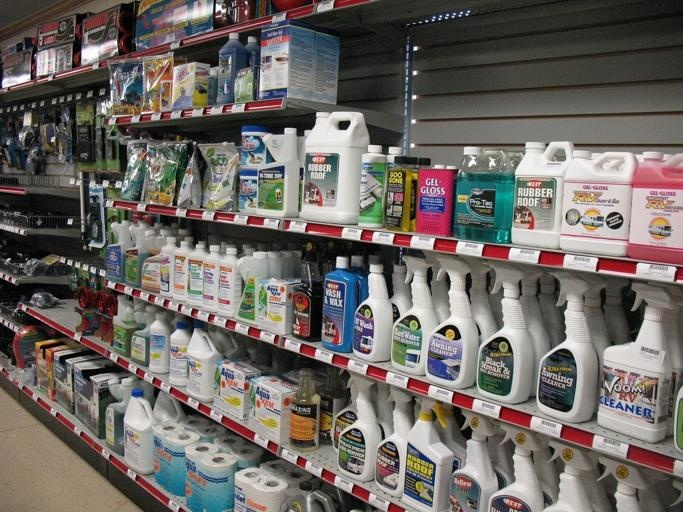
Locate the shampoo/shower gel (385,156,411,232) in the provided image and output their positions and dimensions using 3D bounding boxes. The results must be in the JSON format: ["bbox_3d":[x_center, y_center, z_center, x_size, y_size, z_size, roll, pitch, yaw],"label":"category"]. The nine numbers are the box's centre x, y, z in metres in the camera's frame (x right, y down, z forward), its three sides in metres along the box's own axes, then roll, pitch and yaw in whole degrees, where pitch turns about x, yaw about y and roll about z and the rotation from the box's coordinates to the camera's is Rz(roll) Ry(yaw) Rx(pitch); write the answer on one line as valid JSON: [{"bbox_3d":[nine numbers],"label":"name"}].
[{"bbox_3d":[0.241,-0.241,2.081,0.100,0.263,0.029,4,7,35],"label":"shampoo/shower gel"}]

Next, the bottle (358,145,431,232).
[{"bbox_3d":[0.224,-0.278,2.104,0.143,0.398,0.354,-1,9,-43],"label":"bottle"}]

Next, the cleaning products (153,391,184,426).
[{"bbox_3d":[-1.196,1.043,3.390,0.206,0.271,0.232,-1,-10,-3],"label":"cleaning products"}]

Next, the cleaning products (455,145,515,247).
[{"bbox_3d":[0.550,-0.239,1.865,0.207,0.361,0.225,-1,6,-10],"label":"cleaning products"}]
